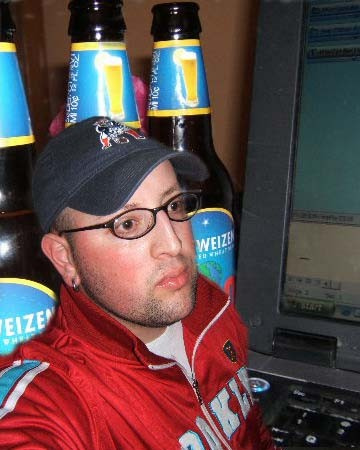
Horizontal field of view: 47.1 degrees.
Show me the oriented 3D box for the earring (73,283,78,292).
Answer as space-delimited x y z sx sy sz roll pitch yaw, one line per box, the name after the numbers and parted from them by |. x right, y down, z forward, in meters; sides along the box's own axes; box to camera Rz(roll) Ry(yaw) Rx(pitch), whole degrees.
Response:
-0.096 0.057 0.380 0.004 0.005 0.007 -8 17 -32 | earring
